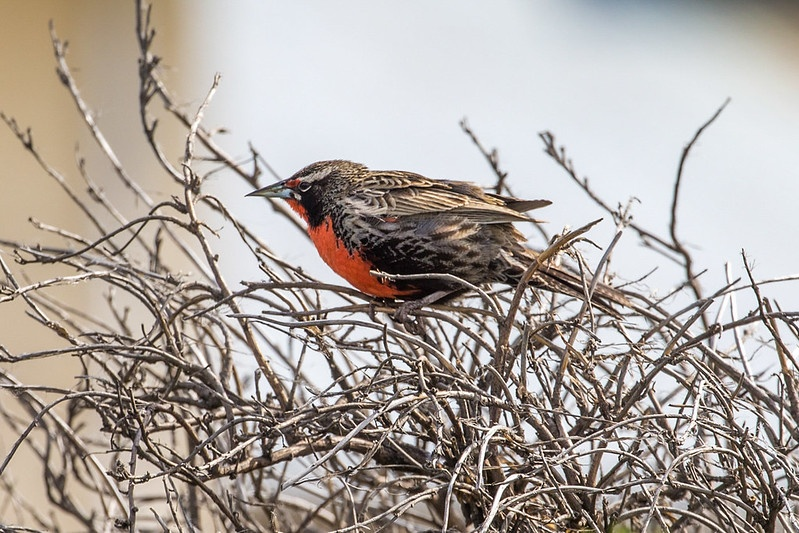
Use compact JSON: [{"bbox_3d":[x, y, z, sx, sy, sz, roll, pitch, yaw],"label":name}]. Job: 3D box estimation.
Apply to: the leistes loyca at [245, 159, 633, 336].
[{"bbox_3d":[0.231,-0.138,5.374,1.968,0.824,0.644,-2,-4,-4],"label":"leistes loyca"}]
